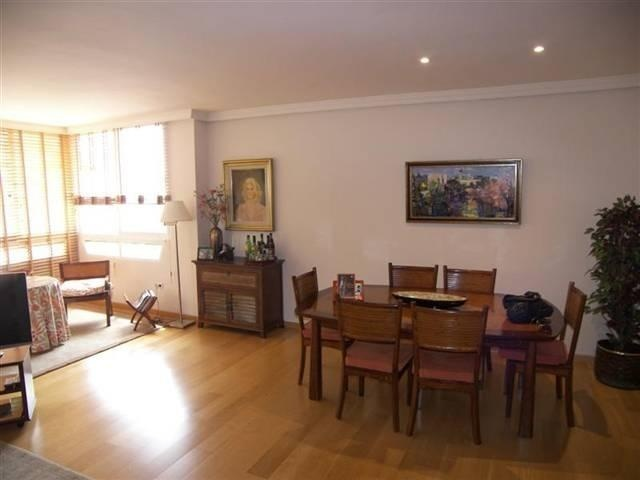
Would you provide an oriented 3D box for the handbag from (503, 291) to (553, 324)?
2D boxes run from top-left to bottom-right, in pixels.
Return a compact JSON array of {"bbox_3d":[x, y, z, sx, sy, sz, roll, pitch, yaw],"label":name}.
[{"bbox_3d":[1.861,0.595,4.209,0.396,0.243,0.243,-1,10,-2],"label":"handbag"}]

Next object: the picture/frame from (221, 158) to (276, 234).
[{"bbox_3d":[-1.021,-0.633,6.735,0.810,1.027,0.169,2,6,31],"label":"picture/frame"}]

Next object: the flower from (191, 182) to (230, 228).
[{"bbox_3d":[-1.549,-0.490,6.959,0.611,0.678,0.520,0,1,40],"label":"flower"}]

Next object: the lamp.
[{"bbox_3d":[-2.059,0.330,6.851,0.445,1.841,0.672,-2,5,-13],"label":"lamp"}]
